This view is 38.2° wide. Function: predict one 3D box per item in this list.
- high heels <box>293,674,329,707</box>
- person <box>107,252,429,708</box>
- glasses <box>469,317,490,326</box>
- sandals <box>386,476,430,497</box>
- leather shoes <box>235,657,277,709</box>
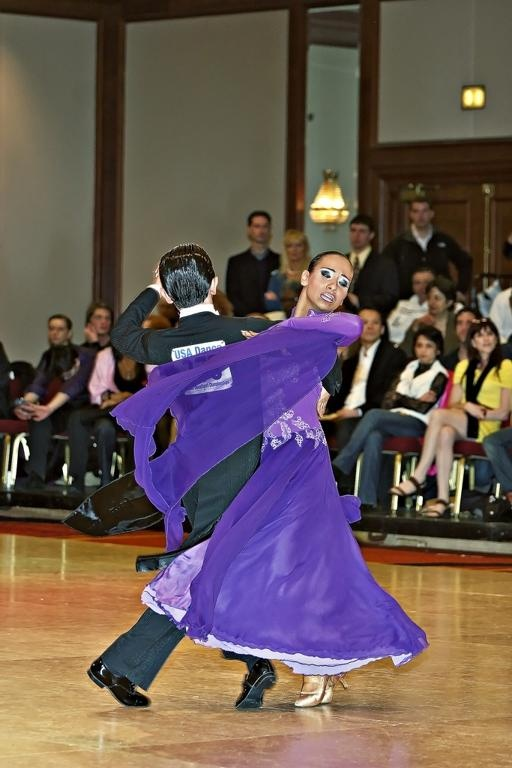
[{"bbox_3d":[0.146,0.770,1.845,0.043,0.051,0.128,-4,-10,30],"label":"high heels"},{"bbox_3d":[0.041,0.233,1.914,0.847,1.074,0.611,3,-7,-7],"label":"person"},{"bbox_3d":[1.544,-0.424,5.090,0.113,0.041,0.103,-2,-2,23],"label":"glasses"},{"bbox_3d":[1.056,0.734,5.200,0.314,0.113,0.109,3,-6,-10],"label":"sandals"},{"bbox_3d":[-0.002,0.723,1.766,0.071,0.162,0.063,20,34,-8],"label":"leather shoes"}]
